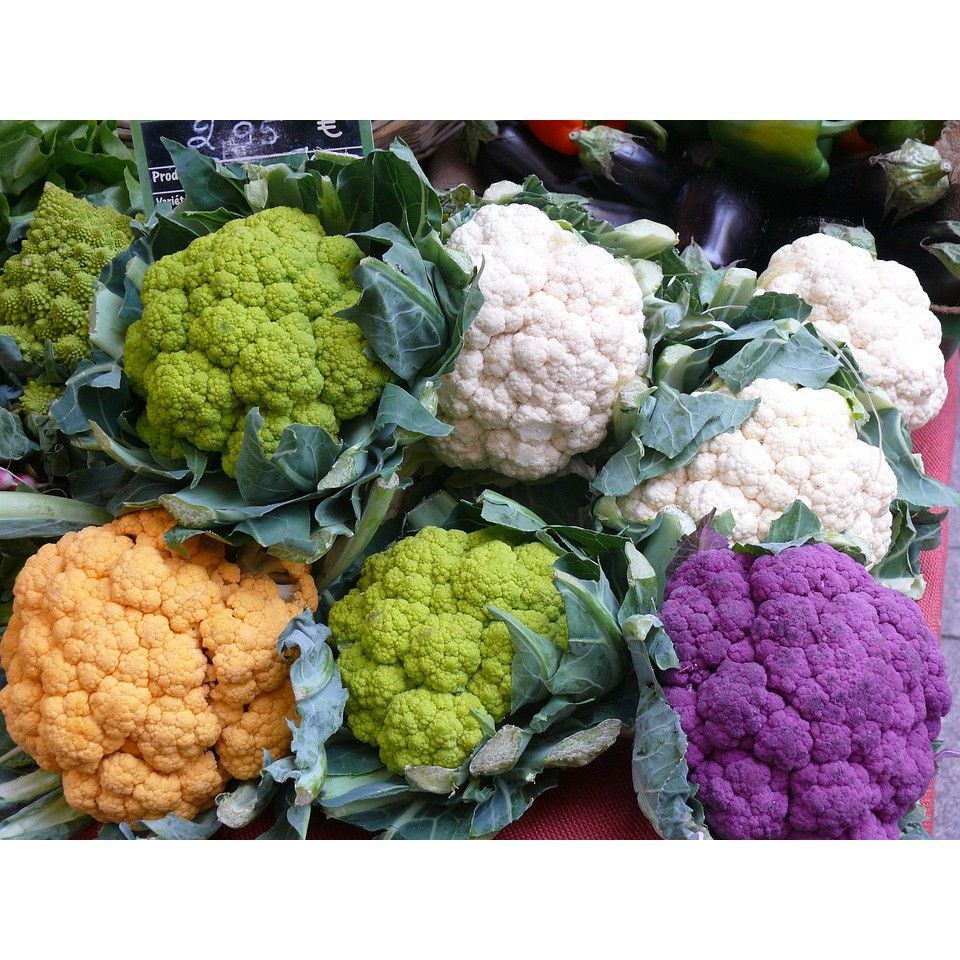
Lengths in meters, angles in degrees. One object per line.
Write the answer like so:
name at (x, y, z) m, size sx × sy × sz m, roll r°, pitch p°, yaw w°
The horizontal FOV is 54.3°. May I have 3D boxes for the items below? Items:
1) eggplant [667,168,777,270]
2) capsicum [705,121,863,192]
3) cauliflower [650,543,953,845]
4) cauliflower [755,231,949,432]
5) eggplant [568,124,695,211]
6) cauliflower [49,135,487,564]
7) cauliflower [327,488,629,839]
eggplant at (0.653, -0.741, 2.486) m, size 0.283 × 0.216 × 0.222 m, roll -3°, pitch 33°, yaw -4°
capsicum at (0.750, -0.835, 2.381) m, size 0.377 × 0.233 × 0.203 m, roll 4°, pitch 72°, yaw 12°
cauliflower at (0.581, 0.368, 1.660) m, size 0.516 × 0.372 × 0.473 m, roll 1°, pitch 38°, yaw -4°
cauliflower at (0.849, -0.347, 2.030) m, size 0.433 × 0.203 × 0.450 m, roll -14°, pitch 62°, yaw -42°
eggplant at (0.397, -0.844, 2.625) m, size 0.338 × 0.148 × 0.177 m, roll 28°, pitch 35°, yaw -14°
cauliflower at (-0.308, -0.210, 1.684) m, size 0.982 × 0.400 × 0.676 m, roll 9°, pitch 78°, yaw 11°
cauliflower at (0.000, 0.345, 1.730) m, size 0.575 × 0.474 × 0.519 m, roll 1°, pitch 38°, yaw -5°
